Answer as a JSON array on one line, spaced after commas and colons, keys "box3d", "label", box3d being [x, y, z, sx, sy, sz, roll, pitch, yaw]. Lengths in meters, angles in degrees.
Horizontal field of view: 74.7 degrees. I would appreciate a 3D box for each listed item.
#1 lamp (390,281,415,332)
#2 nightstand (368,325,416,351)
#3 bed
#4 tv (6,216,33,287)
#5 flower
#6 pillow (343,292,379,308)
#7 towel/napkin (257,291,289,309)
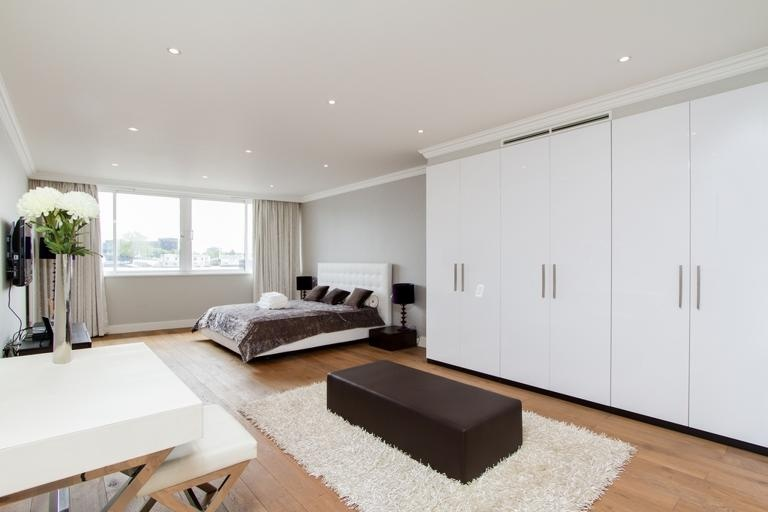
[{"box3d": [0.288, 0.721, 7.318, 0.341, 0.705, 0.462, 0, 15, 3], "label": "lamp"}, {"box3d": [0.179, 1.170, 7.209, 0.419, 0.200, 0.402, 0, -1, -43], "label": "nightstand"}, {"box3d": [-1.451, 0.705, 7.832, 2.443, 1.113, 2.419, -3, 2, -37], "label": "bed"}, {"box3d": [-3.729, -0.051, 5.120, 0.264, 0.768, 0.792, -1, 2, -30], "label": "tv"}, {"box3d": [-2.197, -0.099, 3.434, 0.333, 0.735, 0.374, 8, 17, 29], "label": "flower"}, {"box3d": [-0.334, 0.707, 7.757, 0.305, 0.094, 0.317, -7, 17, 12], "label": "pillow"}, {"box3d": [-1.629, 0.682, 7.544, 0.301, 0.124, 0.298, 0, 2, -31], "label": "towel/napkin"}]
